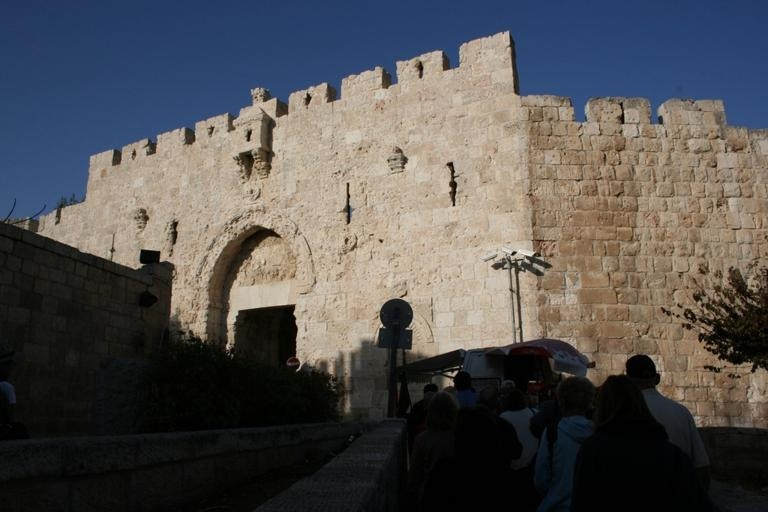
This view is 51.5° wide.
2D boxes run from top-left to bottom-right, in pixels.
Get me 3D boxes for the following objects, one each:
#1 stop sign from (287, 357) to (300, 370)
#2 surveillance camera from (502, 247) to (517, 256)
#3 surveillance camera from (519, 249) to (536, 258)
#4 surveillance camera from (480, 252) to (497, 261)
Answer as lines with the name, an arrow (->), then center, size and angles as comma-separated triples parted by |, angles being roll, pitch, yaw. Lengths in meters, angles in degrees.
stop sign -> -1.817, 2.241, 16.097 | 0.311, 0.292, 0.316 | 0, 7, -7
surveillance camera -> 2.459, -0.088, 15.657 | 0.278, 0.184, 0.232 | -5, -14, 9
surveillance camera -> 2.796, -0.072, 15.535 | 0.374, 0.179, 0.241 | -4, -14, 6
surveillance camera -> 2.068, 0.009, 15.807 | 0.335, 0.148, 0.194 | -9, -15, 25
